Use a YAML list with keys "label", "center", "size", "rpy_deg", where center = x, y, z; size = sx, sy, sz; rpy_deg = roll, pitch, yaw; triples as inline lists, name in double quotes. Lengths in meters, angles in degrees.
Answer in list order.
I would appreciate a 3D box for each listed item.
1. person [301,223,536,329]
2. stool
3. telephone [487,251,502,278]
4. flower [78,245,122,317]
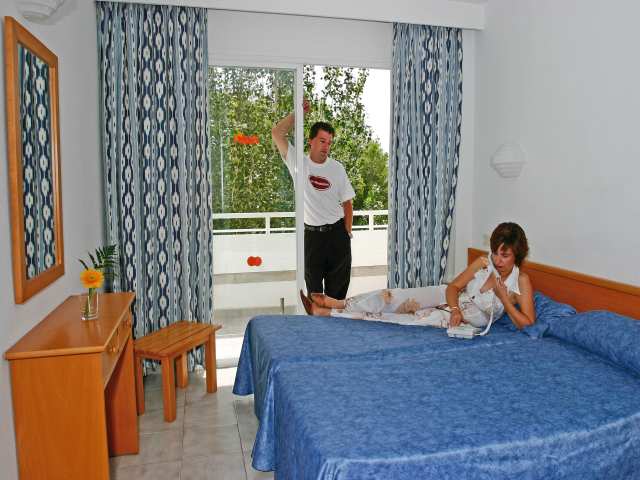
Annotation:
- label: "person"
  center: [0.654, 0.277, 4.166]
  size: [1.789, 1.108, 0.739]
  rpy_deg: [0, 18, 3]
- label: "stool"
  center: [-1.047, 0.835, 4.025]
  size: [0.455, 0.672, 0.813]
  rpy_deg: [3, 9, 18]
- label: "telephone"
  center: [1.223, 0.164, 3.825]
  size: [0.042, 0.155, 0.097]
  rpy_deg: [-6, 8, -33]
- label: "flower"
  center: [-1.485, 0.263, 3.590]
  size: [0.127, 0.377, 0.337]
  rpy_deg: [7, 7, 12]
